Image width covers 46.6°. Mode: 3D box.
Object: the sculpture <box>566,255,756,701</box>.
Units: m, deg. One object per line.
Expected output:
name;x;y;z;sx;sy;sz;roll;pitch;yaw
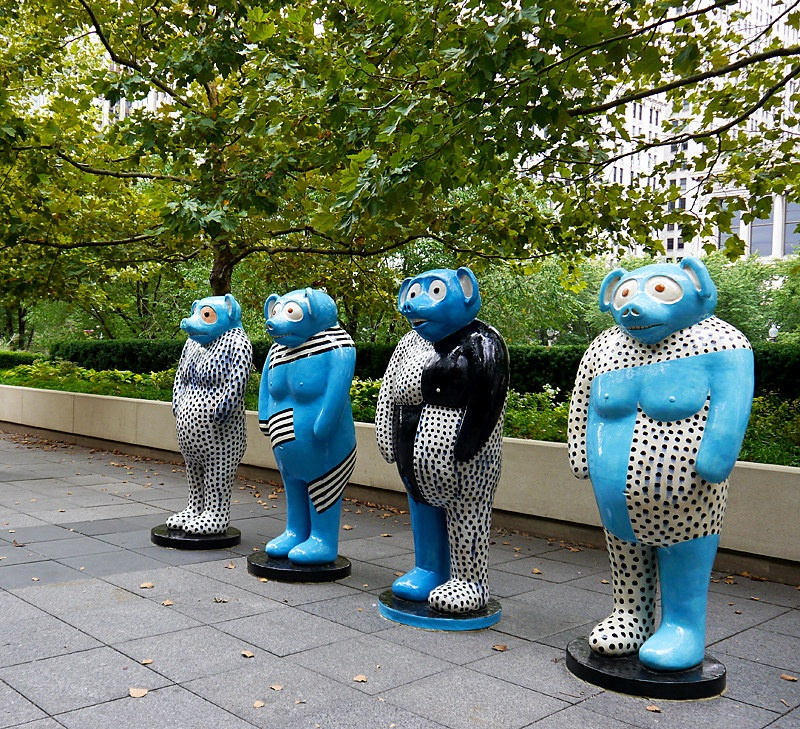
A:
sculpture;1.494;0.639;5.493;1.002;2.523;0.697;5;9;18

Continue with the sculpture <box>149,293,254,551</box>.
sculpture;-1.637;0.497;7.919;0.798;2.167;0.577;3;9;6

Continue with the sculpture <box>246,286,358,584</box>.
sculpture;-0.751;0.540;7.264;0.809;2.257;0.703;2;9;-1

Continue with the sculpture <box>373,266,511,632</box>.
sculpture;0.288;0.551;6.425;0.968;2.430;0.738;6;9;23
